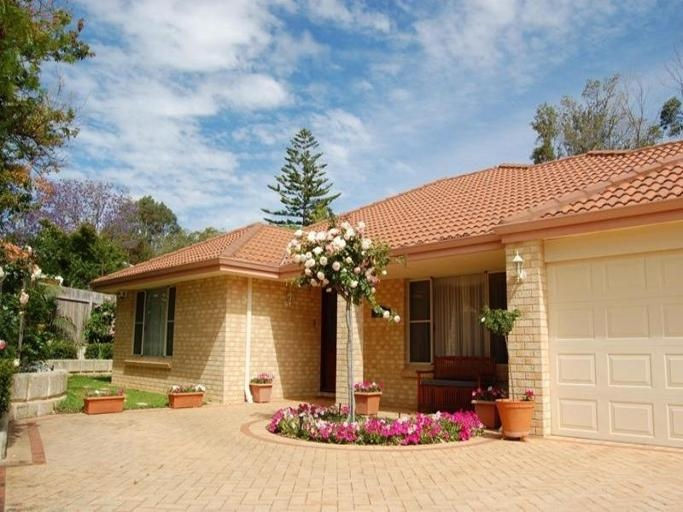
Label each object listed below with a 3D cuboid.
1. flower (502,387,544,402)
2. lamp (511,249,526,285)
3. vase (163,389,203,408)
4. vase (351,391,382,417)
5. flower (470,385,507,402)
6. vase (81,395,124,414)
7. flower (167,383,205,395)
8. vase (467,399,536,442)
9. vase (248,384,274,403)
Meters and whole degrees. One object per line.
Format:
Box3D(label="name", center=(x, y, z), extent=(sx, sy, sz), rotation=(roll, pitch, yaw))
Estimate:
Box3D(label="flower", center=(3.692, 2.886, 9.957), extent=(0.595, 0.251, 0.467), rotation=(-2, -3, 32))
Box3D(label="lamp", center=(3.785, 0.252, 10.355), extent=(0.292, 0.719, 0.164), rotation=(-1, -1, 21))
Box3D(label="vase", center=(-4.508, 4.144, 14.146), extent=(0.724, 0.329, 0.515), rotation=(4, -9, -31))
Box3D(label="vase", center=(0.640, 3.867, 12.702), extent=(0.587, 0.505, 0.650), rotation=(-9, -14, 31))
Box3D(label="flower", center=(3.317, 3.158, 10.982), extent=(0.597, 0.314, 0.664), rotation=(-4, -9, 18))
Box3D(label="vase", center=(-6.217, 3.864, 12.738), extent=(0.736, 0.338, 0.502), rotation=(3, -8, -29))
Box3D(label="flower", center=(-4.553, 3.962, 14.296), extent=(0.805, 0.282, 0.602), rotation=(2, -7, -23))
Box3D(label="vase", center=(3.550, 3.331, 9.842), extent=(0.786, 0.798, 0.444), rotation=(-1, -1, 6))
Box3D(label="vase", center=(-2.491, 4.296, 15.133), extent=(0.665, 0.567, 0.563), rotation=(9, -14, -38))
